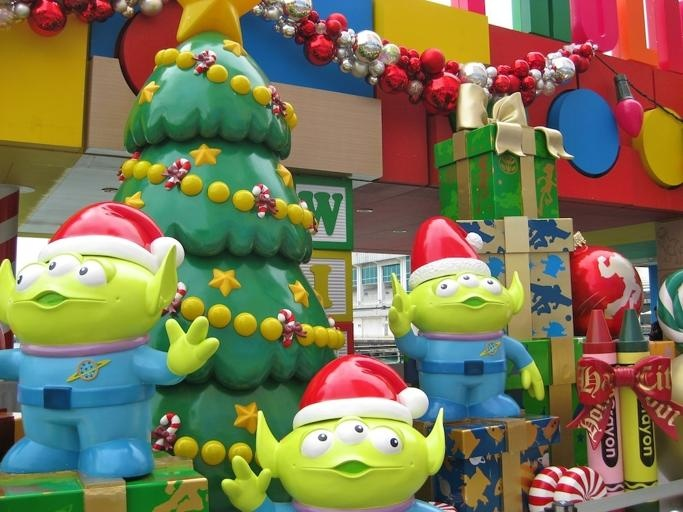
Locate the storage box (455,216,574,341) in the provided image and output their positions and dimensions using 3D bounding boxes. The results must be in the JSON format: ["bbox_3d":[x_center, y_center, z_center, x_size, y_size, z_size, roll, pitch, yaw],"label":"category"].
[{"bbox_3d":[1.167,0.076,5.079,0.828,0.668,0.823,-7,7,-38],"label":"storage box"}]

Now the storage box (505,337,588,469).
[{"bbox_3d":[1.226,0.821,4.657,0.593,0.622,0.615,0,-9,-6],"label":"storage box"}]
